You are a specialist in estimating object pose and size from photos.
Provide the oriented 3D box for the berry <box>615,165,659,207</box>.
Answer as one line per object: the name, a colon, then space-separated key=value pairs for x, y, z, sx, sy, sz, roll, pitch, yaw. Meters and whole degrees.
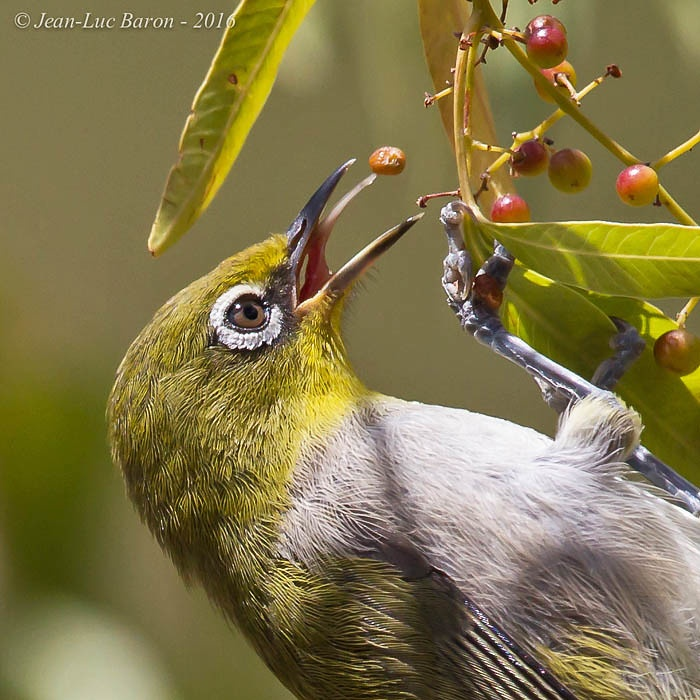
berry: x=0.636 y=-0.361 z=2.514 sx=0.091 sy=0.081 sz=0.092 roll=-17 pitch=-24 yaw=1

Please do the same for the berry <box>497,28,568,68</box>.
berry: x=0.414 y=-0.667 z=2.485 sx=0.101 sy=0.064 sz=0.051 roll=11 pitch=16 yaw=43

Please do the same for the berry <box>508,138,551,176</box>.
berry: x=0.423 y=-0.446 z=2.666 sx=0.092 sy=0.072 sz=0.077 roll=-28 pitch=-20 yaw=33

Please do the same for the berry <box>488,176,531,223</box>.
berry: x=0.393 y=-0.353 z=2.699 sx=0.089 sy=0.108 sz=0.087 roll=-9 pitch=9 yaw=-22

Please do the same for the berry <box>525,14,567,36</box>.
berry: x=0.440 y=-0.737 z=2.536 sx=0.075 sy=0.044 sz=0.064 roll=0 pitch=30 yaw=1

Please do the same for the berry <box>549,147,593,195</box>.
berry: x=0.502 y=-0.404 z=2.601 sx=0.098 sy=0.117 sz=0.097 roll=-1 pitch=-2 yaw=9
